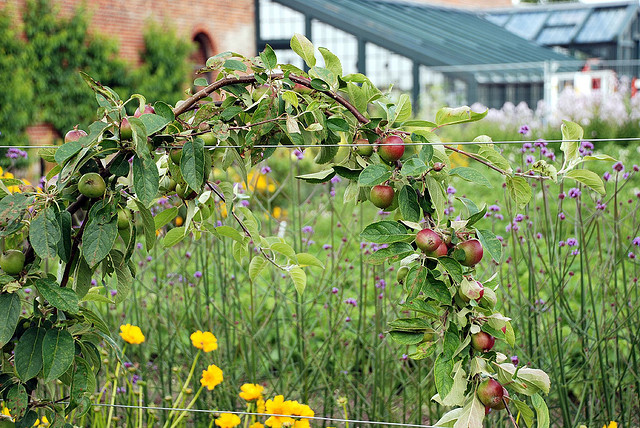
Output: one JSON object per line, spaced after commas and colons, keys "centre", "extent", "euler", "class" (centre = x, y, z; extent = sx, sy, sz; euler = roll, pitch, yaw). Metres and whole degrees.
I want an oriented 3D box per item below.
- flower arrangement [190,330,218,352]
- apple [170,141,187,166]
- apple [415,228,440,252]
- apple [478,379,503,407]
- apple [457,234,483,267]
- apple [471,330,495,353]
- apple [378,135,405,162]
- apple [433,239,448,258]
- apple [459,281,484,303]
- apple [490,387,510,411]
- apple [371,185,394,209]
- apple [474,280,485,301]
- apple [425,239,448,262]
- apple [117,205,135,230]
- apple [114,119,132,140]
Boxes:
{"centre": [-0.818, 0.909, 6.643], "extent": [0.126, 0.174, 0.061], "euler": [11, -37, -30], "class": "flower arrangement"}
{"centre": [-0.942, -0.409, 6.278], "extent": [0.094, 0.171, 0.117], "euler": [1, 2, 8], "class": "apple"}
{"centre": [0.698, 0.176, 6.069], "extent": [0.140, 0.148, 0.137], "euler": [19, 49, 38], "class": "apple"}
{"centre": [1.115, 1.195, 6.157], "extent": [0.134, 0.201, 0.148], "euler": [-6, -5, 32], "class": "apple"}
{"centre": [0.994, 0.230, 6.158], "extent": [0.143, 0.230, 0.149], "euler": [-33, -14, 21], "class": "apple"}
{"centre": [1.063, 0.841, 6.095], "extent": [0.099, 0.165, 0.135], "euler": [5, -37, -4], "class": "apple"}
{"centre": [0.485, -0.425, 6.186], "extent": [0.126, 0.200, 0.156], "euler": [-3, -3, -4], "class": "apple"}
{"centre": [0.791, 0.236, 6.089], "extent": [0.079, 0.139, 0.093], "euler": [6, -12, 28], "class": "apple"}
{"centre": [0.965, 0.520, 6.069], "extent": [0.102, 0.112, 0.129], "euler": [-1, -6, 17], "class": "apple"}
{"centre": [1.195, 1.256, 6.176], "extent": [0.104, 0.175, 0.130], "euler": [9, 34, 23], "class": "apple"}
{"centre": [0.411, -0.109, 6.155], "extent": [0.104, 0.163, 0.138], "euler": [2, 11, -3], "class": "apple"}
{"centre": [1.039, 0.507, 6.103], "extent": [0.043, 0.113, 0.077], "euler": [4, -14, -4], "class": "apple"}
{"centre": [0.753, 0.221, 6.085], "extent": [0.096, 0.169, 0.111], "euler": [9, 14, 27], "class": "apple"}
{"centre": [-1.283, 0.033, 6.228], "extent": [0.064, 0.154, 0.141], "euler": [4, 0, 37], "class": "apple"}
{"centre": [-1.270, -0.534, 6.072], "extent": [0.076, 0.135, 0.091], "euler": [-1, 4, 22], "class": "apple"}
